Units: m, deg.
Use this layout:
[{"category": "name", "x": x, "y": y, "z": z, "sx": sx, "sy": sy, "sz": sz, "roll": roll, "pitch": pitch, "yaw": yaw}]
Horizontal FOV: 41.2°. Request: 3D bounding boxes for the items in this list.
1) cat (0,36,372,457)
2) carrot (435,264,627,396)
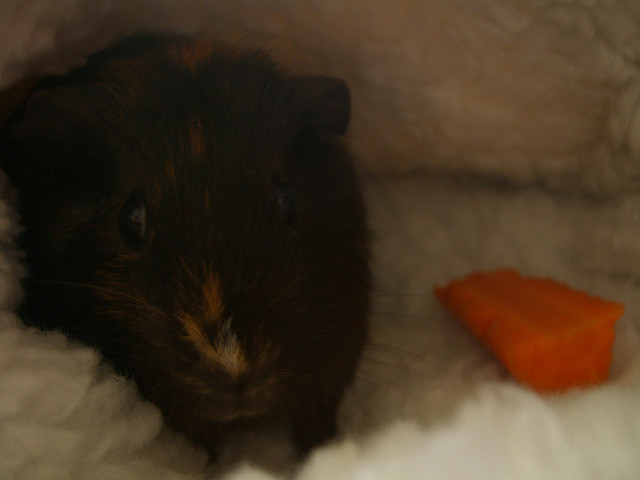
[{"category": "cat", "x": -0.285, "y": -0.070, "z": 1.850, "sx": 0.555, "sy": 0.830, "sz": 0.668, "roll": -1, "pitch": 106, "yaw": -10}, {"category": "carrot", "x": 0.418, "y": 0.177, "z": 1.733, "sx": 0.391, "sy": 0.102, "sz": 0.200, "roll": 25, "pitch": 63, "yaw": 6}]
